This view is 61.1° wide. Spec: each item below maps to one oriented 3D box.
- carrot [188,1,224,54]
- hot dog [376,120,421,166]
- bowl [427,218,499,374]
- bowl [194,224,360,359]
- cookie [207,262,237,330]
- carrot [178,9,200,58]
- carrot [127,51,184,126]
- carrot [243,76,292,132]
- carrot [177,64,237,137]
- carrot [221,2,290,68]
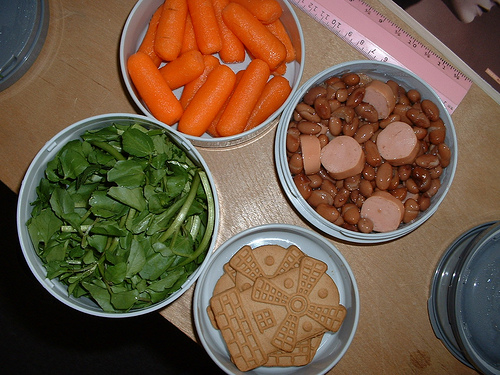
[{"bbox_3d":[-0.173,-0.627,1.640,0.070,0.096,0.239,-18,102,-30],"label":"carrot"},{"bbox_3d":[0.587,-0.183,1.695,0.151,0.098,0.173,4,75,32],"label":"hot dog"},{"bbox_3d":[0.875,0.432,1.640,0.330,0.168,0.601,-3,85,-4],"label":"bowl"},{"bbox_3d":[0.109,0.408,1.597,0.628,0.144,0.542,-8,85,-5],"label":"bowl"},{"bbox_3d":[-0.096,0.371,1.668,0.165,0.033,0.325,-4,76,14],"label":"cookie"},{"bbox_3d":[-0.243,-0.600,1.661,0.076,0.052,0.172,-5,97,-16],"label":"carrot"},{"bbox_3d":[-0.361,-0.372,1.673,0.129,0.128,0.329,-27,100,2],"label":"carrot"},{"bbox_3d":[0.076,-0.345,1.737,0.109,0.088,0.303,32,102,-14],"label":"carrot"},{"bbox_3d":[-0.162,-0.332,1.692,0.136,0.119,0.373,32,87,-22],"label":"carrot"},{"bbox_3d":[0.019,-0.597,1.710,0.332,0.119,0.161,46,63,-3],"label":"carrot"}]
